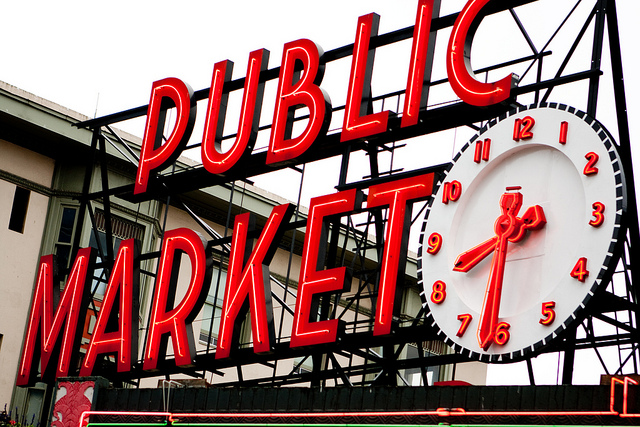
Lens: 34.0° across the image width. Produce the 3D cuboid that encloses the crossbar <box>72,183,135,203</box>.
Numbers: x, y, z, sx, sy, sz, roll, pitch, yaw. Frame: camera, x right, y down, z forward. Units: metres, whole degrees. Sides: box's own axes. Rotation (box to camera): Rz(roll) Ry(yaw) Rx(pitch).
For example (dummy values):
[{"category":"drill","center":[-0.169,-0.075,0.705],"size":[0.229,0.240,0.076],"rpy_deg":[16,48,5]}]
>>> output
[{"category":"crossbar","center":[-8.763,-0.814,41.759],"size":[3.652,0.542,0.392],"rpy_deg":[-8,16,37]}]
